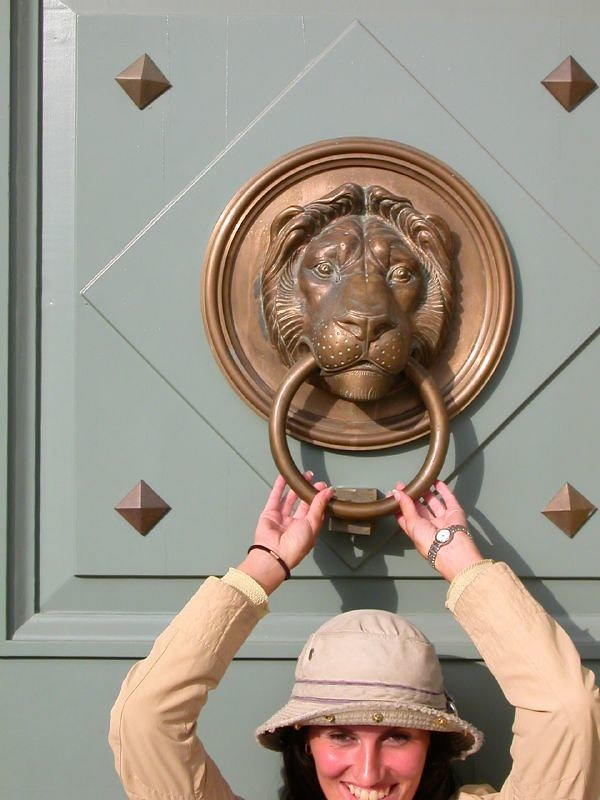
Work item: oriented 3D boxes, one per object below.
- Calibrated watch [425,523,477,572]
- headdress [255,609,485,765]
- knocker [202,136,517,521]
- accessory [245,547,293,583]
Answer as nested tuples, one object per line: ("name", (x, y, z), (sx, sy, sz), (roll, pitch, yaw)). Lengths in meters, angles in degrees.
("Calibrated watch", (0.180, 0.178, 1.318), (0.015, 0.050, 0.052), (28, -79, -39))
("headdress", (0.087, 0.324, 1.316), (0.287, 0.142, 0.279), (0, -14, 17))
("knocker", (0.076, -0.073, 1.413), (0.538, 0.626, 0.109), (0, 4, -2))
("accessory", (-0.033, 0.199, 1.329), (0.010, 0.043, 0.043), (-43, -51, 5))
